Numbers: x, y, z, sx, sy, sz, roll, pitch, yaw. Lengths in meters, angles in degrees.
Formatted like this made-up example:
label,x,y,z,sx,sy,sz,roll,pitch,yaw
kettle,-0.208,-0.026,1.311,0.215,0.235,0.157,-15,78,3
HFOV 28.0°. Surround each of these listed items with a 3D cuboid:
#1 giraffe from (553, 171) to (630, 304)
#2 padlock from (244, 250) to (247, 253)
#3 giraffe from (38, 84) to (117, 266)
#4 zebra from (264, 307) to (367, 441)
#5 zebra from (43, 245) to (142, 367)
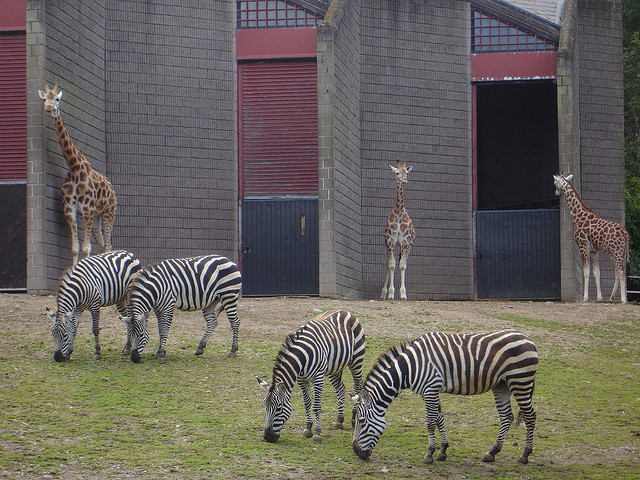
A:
label,x,y,z,sx,sy,sz,roll,pitch,yaw
giraffe,7.359,-0.099,34.815,1.834,3.620,2.274,1,-4,12
padlock,-2.003,0.282,33.855,0.067,0.076,0.017,1,-2,-2
giraffe,-5.768,-1.519,30.650,0.812,4.141,2.710,0,-5,28
zebra,-0.130,2.428,23.292,1.938,2.376,0.639,5,-5,-33
zebra,-4.755,1.071,26.190,1.544,2.598,1.552,0,8,-28
